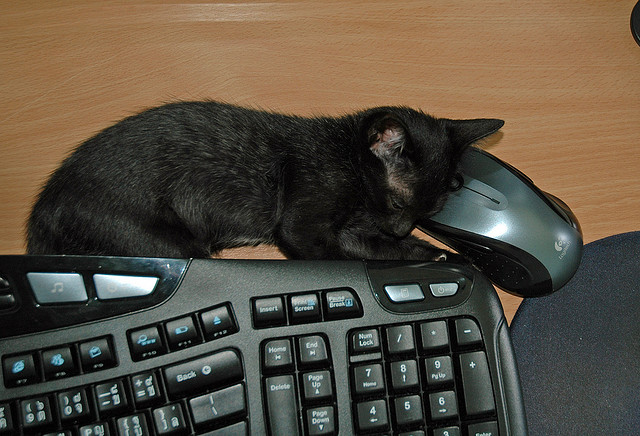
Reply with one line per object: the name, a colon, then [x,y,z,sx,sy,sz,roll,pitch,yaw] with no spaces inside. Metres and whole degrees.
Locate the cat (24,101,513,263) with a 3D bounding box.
cat: [0.064,-0.088,1.500,1.450,0.374,0.372,-1,39,-6]
